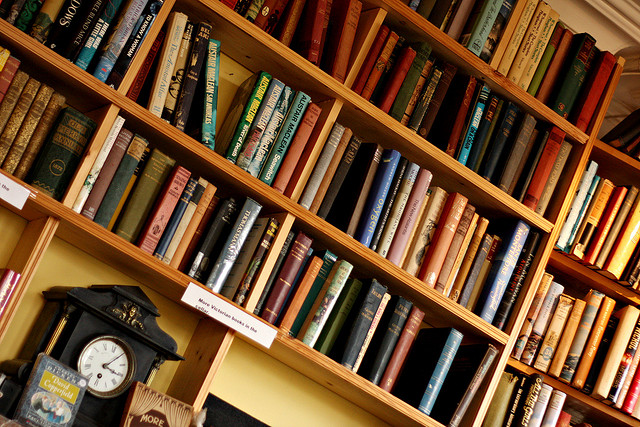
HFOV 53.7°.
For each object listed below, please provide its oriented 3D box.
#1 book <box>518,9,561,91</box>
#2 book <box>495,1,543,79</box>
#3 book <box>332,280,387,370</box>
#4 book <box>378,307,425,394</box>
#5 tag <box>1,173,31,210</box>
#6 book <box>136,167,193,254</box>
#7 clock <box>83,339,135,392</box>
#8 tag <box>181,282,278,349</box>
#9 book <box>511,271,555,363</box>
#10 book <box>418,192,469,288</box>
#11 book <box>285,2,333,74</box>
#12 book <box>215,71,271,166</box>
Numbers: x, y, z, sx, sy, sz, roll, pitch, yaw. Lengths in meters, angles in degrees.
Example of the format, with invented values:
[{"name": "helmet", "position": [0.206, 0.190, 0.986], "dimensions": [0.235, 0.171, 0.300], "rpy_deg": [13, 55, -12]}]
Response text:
[{"name": "book", "position": [0.933, -0.691, 2.676], "dimensions": [0.062, 0.286, 0.282], "rpy_deg": [22, -55, -4]}, {"name": "book", "position": [0.826, -0.733, 2.640], "dimensions": [0.204, 0.233, 0.220], "rpy_deg": [22, -15, -1]}, {"name": "book", "position": [0.141, 0.426, 2.414], "dimensions": [0.150, 0.344, 0.065], "rpy_deg": [-6, -32, 41]}, {"name": "book", "position": [0.314, 0.528, 2.453], "dimensions": [0.103, 0.340, 0.070], "rpy_deg": [-9, -33, 44]}, {"name": "tag", "position": [-0.996, -0.069, 2.023], "dimensions": [0.101, 0.078, 0.015], "rpy_deg": [26, -25, -18]}, {"name": "book", "position": [-0.553, -0.016, 2.223], "dimensions": [0.056, 0.258, 0.239], "rpy_deg": [26, -44, -6]}, {"name": "clock", "position": [-0.732, 0.518, 2.165], "dimensions": [0.063, 0.186, 0.179], "rpy_deg": [-10, -35, 45]}, {"name": "tag", "position": [-0.321, 0.358, 2.230], "dimensions": [0.363, 0.110, 0.014], "rpy_deg": [25, -25, -15]}, {"name": "book", "position": [0.889, 0.443, 2.650], "dimensions": [0.105, 0.315, 0.297], "rpy_deg": [21, 20, 5]}, {"name": "book", "position": [0.495, 0.100, 2.522], "dimensions": [0.069, 0.313, 0.293], "rpy_deg": [19, -28, 4]}, {"name": "book", "position": [-0.051, -0.672, 2.420], "dimensions": [0.117, 0.204, 0.206], "rpy_deg": [23, -19, -3]}, {"name": "book", "position": [-0.291, -0.347, 2.374], "dimensions": [0.045, 0.422, 0.326], "rpy_deg": [22, 5, -14]}]
